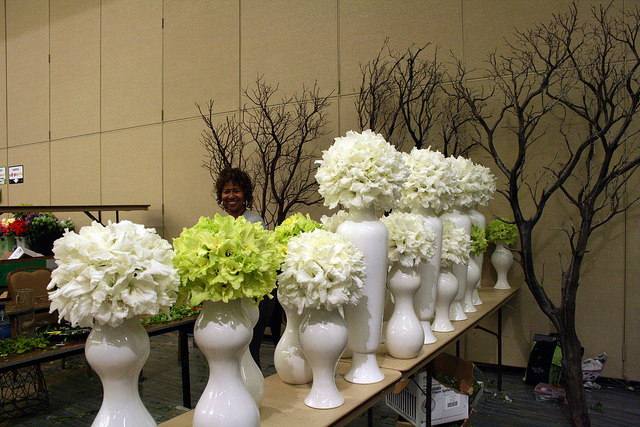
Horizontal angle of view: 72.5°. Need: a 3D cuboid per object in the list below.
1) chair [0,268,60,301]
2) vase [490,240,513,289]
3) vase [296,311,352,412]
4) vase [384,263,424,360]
[{"bbox_3d":[-3.106,0.734,4.687,0.304,0.285,0.428,3,9,33],"label":"chair"},{"bbox_3d":[1.961,0.541,4.720,0.224,0.529,0.166,-1,8,5],"label":"vase"},{"bbox_3d":[0.017,0.745,2.287,0.253,0.479,0.213,-2,8,-2],"label":"vase"},{"bbox_3d":[0.512,0.599,2.717,0.230,0.587,0.183,-4,8,-15],"label":"vase"}]
